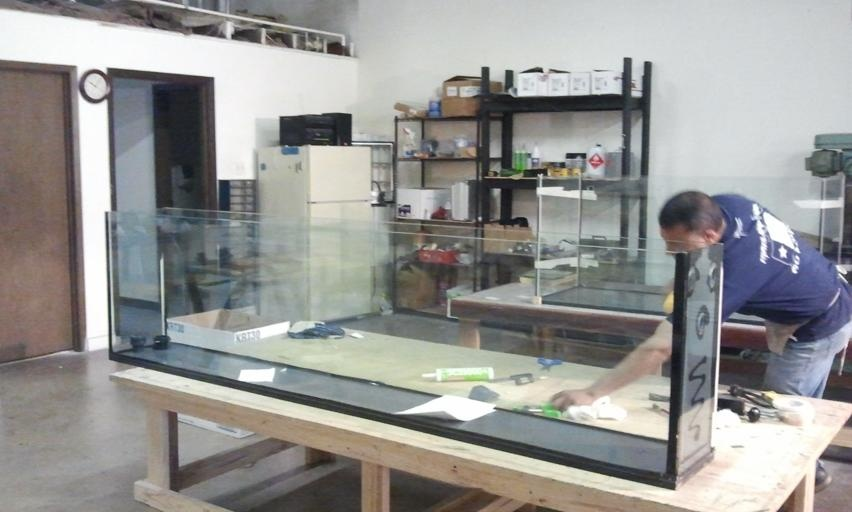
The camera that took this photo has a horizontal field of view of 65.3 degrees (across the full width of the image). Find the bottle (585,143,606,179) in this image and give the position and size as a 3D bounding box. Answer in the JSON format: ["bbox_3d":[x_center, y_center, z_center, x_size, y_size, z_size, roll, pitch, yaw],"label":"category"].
[{"bbox_3d":[1.709,-0.966,6.687,0.194,0.319,0.431,2,10,14],"label":"bottle"}]

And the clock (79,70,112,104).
[{"bbox_3d":[-3.068,-1.570,6.189,0.088,0.255,0.342,6,3,44],"label":"clock"}]
